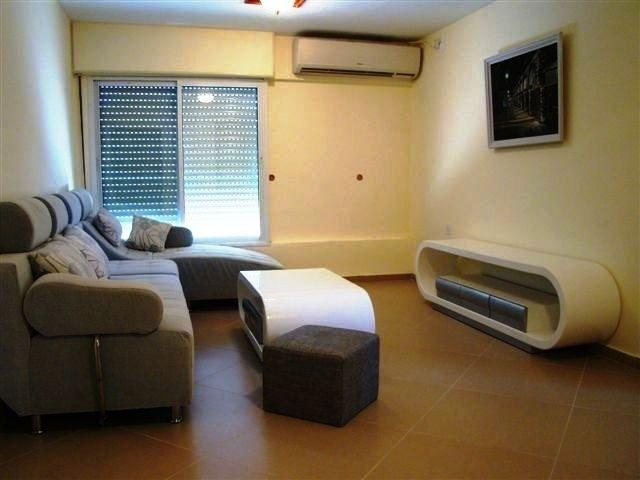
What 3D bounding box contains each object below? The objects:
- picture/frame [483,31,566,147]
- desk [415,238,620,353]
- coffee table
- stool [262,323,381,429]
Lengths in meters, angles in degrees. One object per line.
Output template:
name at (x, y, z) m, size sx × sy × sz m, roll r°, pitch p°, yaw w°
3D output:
picture/frame at (1.792, -1.276, 4.328) m, size 0.034 × 0.882 × 0.847 m, roll -10°, pitch 9°, yaw -23°
desk at (1.628, 0.449, 4.490) m, size 0.571 × 0.762 × 1.996 m, roll -5°, pitch 9°, yaw -20°
coffee table at (-0.188, 0.584, 4.059) m, size 0.816 × 0.494 × 1.226 m, roll -5°, pitch 6°, yaw -17°
stool at (0.000, 0.761, 3.069) m, size 0.537 × 0.441 × 0.552 m, roll 2°, pitch 5°, yaw 29°
